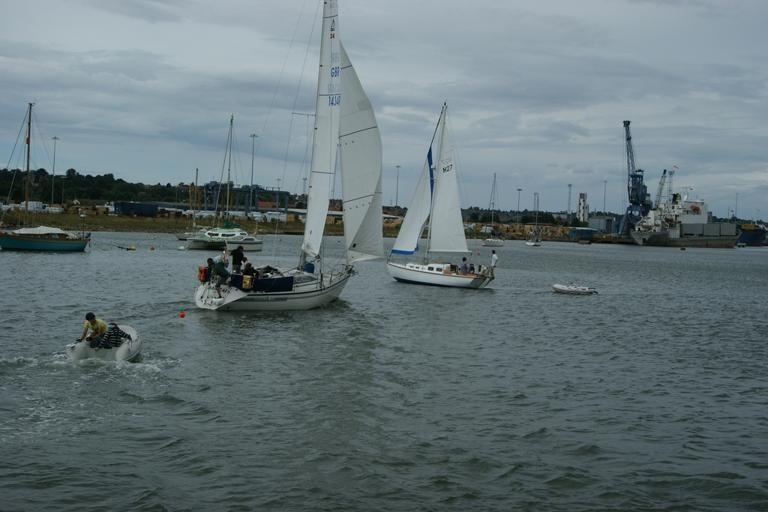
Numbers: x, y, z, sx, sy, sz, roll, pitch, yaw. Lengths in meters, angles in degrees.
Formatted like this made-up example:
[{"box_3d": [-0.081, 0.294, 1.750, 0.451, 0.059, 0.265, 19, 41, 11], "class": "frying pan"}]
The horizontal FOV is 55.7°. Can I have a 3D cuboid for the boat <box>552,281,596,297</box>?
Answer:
[{"box_3d": [15.554, 2.801, 59.058, 2.844, 0.783, 1.762, 6, 6, -1], "class": "boat"}]

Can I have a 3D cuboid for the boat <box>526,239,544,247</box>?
[{"box_3d": [37.381, -3.118, 182.253, 2.537, 1.783, 8.044, 0, 3, 6], "class": "boat"}]

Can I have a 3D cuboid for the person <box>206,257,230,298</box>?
[{"box_3d": [-9.626, 0.964, 40.826, 0.945, 2.220, 1.188, 31, 26, 33], "class": "person"}]

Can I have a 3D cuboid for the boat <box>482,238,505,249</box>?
[{"box_3d": [23.643, -2.738, 158.604, 4.943, 1.470, 2.436, 2, 9, 8], "class": "boat"}]

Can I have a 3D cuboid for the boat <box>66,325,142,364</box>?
[{"box_3d": [-11.612, 3.766, 31.332, 2.436, 0.900, 3.028, 10, 18, 19], "class": "boat"}]
